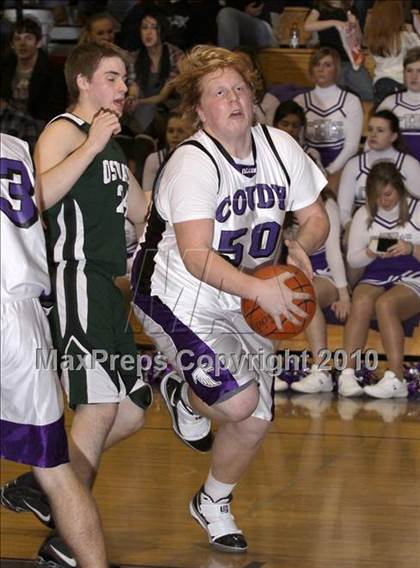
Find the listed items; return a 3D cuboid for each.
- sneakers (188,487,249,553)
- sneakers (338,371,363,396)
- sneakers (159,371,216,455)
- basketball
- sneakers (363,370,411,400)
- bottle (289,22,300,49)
[{"bbox_3d":[0.023,0.756,1.706,0.088,0.104,0.251,3,26,-45],"label":"sneakers"},{"bbox_3d":[0.992,0.699,3.697,0.161,0.189,0.172,-4,23,-2],"label":"sneakers"},{"bbox_3d":[-0.090,0.462,2.135,0.154,0.340,0.153,24,18,6],"label":"sneakers"},{"bbox_3d":[0.186,0.048,1.479,0.158,0.155,0.176,38,48,-8],"label":"basketball"},{"bbox_3d":[1.212,0.709,3.633,0.330,0.178,0.160,1,0,-11],"label":"sneakers"},{"bbox_3d":[0.911,-2.700,5.707,0.094,0.206,0.141,1,24,10],"label":"bottle"}]
